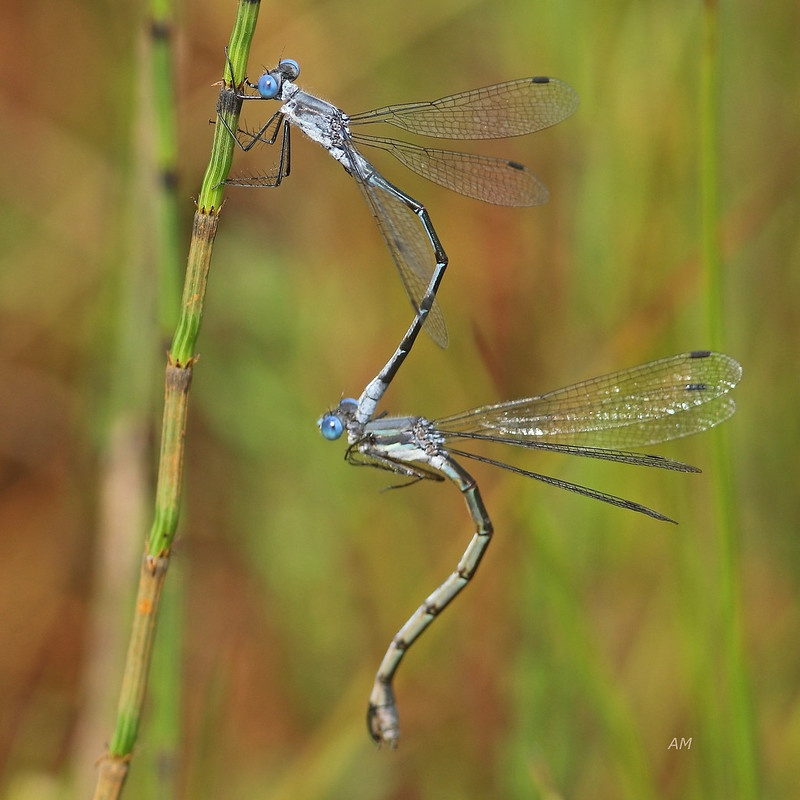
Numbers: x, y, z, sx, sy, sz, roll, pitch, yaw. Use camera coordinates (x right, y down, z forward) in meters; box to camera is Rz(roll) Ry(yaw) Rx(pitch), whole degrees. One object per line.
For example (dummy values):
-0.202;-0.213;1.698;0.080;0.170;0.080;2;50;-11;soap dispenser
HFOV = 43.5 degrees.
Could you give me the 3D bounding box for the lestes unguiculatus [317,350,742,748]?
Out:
0.323;0.319;2.315;0.963;0.197;0.771;-7;-83;-3;lestes unguiculatus
